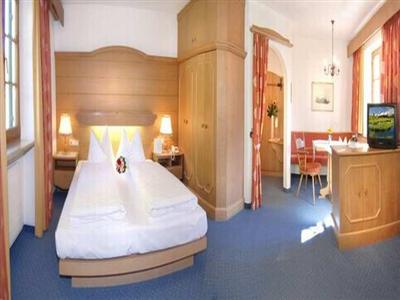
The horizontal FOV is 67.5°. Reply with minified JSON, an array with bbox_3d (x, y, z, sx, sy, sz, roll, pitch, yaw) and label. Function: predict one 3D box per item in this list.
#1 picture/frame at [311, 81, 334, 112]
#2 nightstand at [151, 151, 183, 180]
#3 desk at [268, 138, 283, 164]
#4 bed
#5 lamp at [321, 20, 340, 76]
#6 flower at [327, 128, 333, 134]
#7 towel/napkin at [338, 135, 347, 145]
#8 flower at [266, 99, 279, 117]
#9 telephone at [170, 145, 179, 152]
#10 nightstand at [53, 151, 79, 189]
[{"bbox_3d":[3.036,-1.359,7.457,0.636,0.899,0.063,0,1,-10],"label":"picture/frame"},{"bbox_3d":[-0.700,0.263,6.184,0.648,0.730,0.492,-1,4,-14],"label":"nightstand"},{"bbox_3d":[1.927,-0.012,7.473,0.413,0.642,0.641,0,2,6],"label":"desk"},{"bbox_3d":[-1.237,0.707,4.811,1.703,1.539,3.075,-1,12,-22],"label":"bed"},{"bbox_3d":[3.055,-2.241,6.841,0.380,1.193,1.432,7,16,23],"label":"lamp"},{"bbox_3d":[3.065,-0.444,7.052,0.097,0.171,0.134,13,21,39],"label":"flower"},{"bbox_3d":[3.265,-0.223,6.828,0.010,0.215,0.192,-5,9,-30],"label":"towel/napkin"},{"bbox_3d":[1.790,-1.030,7.389,0.347,0.472,0.106,2,16,7],"label":"flower"},{"bbox_3d":[-0.524,-0.024,6.124,0.149,0.173,0.104,-8,16,-22],"label":"telephone"},{"bbox_3d":[-2.716,0.459,5.731,0.342,0.679,0.421,6,-7,30],"label":"nightstand"}]
